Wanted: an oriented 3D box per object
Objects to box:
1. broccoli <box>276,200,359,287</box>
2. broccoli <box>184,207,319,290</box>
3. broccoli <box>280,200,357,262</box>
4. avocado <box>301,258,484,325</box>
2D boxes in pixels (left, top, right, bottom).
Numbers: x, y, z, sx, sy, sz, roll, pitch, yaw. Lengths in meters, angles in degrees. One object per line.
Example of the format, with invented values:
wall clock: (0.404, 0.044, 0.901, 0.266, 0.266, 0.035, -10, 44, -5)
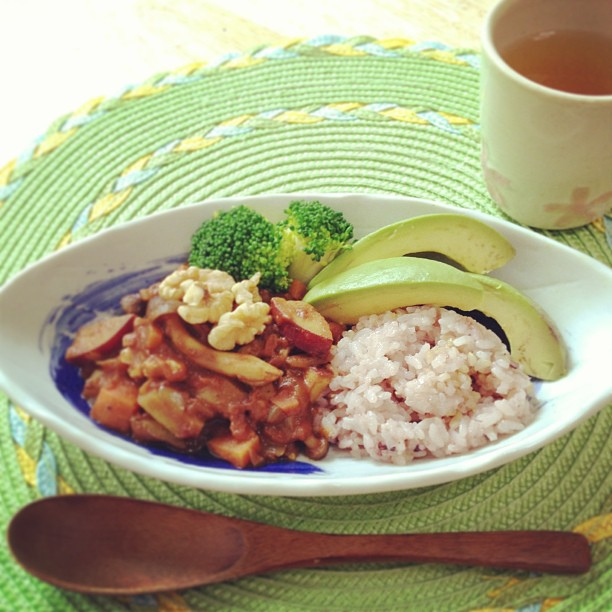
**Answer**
broccoli: (0.030, -0.250, 2.922, 0.344, 0.261, 0.365, -3, 25, -6)
broccoli: (-0.267, -0.323, 2.963, 0.385, 0.126, 0.318, 27, 62, 36)
broccoli: (0.014, -0.294, 2.973, 0.317, 0.101, 0.273, 29, 48, 27)
avocado: (0.339, -0.059, 2.877, 0.681, 0.286, 0.184, 0, 57, 1)
